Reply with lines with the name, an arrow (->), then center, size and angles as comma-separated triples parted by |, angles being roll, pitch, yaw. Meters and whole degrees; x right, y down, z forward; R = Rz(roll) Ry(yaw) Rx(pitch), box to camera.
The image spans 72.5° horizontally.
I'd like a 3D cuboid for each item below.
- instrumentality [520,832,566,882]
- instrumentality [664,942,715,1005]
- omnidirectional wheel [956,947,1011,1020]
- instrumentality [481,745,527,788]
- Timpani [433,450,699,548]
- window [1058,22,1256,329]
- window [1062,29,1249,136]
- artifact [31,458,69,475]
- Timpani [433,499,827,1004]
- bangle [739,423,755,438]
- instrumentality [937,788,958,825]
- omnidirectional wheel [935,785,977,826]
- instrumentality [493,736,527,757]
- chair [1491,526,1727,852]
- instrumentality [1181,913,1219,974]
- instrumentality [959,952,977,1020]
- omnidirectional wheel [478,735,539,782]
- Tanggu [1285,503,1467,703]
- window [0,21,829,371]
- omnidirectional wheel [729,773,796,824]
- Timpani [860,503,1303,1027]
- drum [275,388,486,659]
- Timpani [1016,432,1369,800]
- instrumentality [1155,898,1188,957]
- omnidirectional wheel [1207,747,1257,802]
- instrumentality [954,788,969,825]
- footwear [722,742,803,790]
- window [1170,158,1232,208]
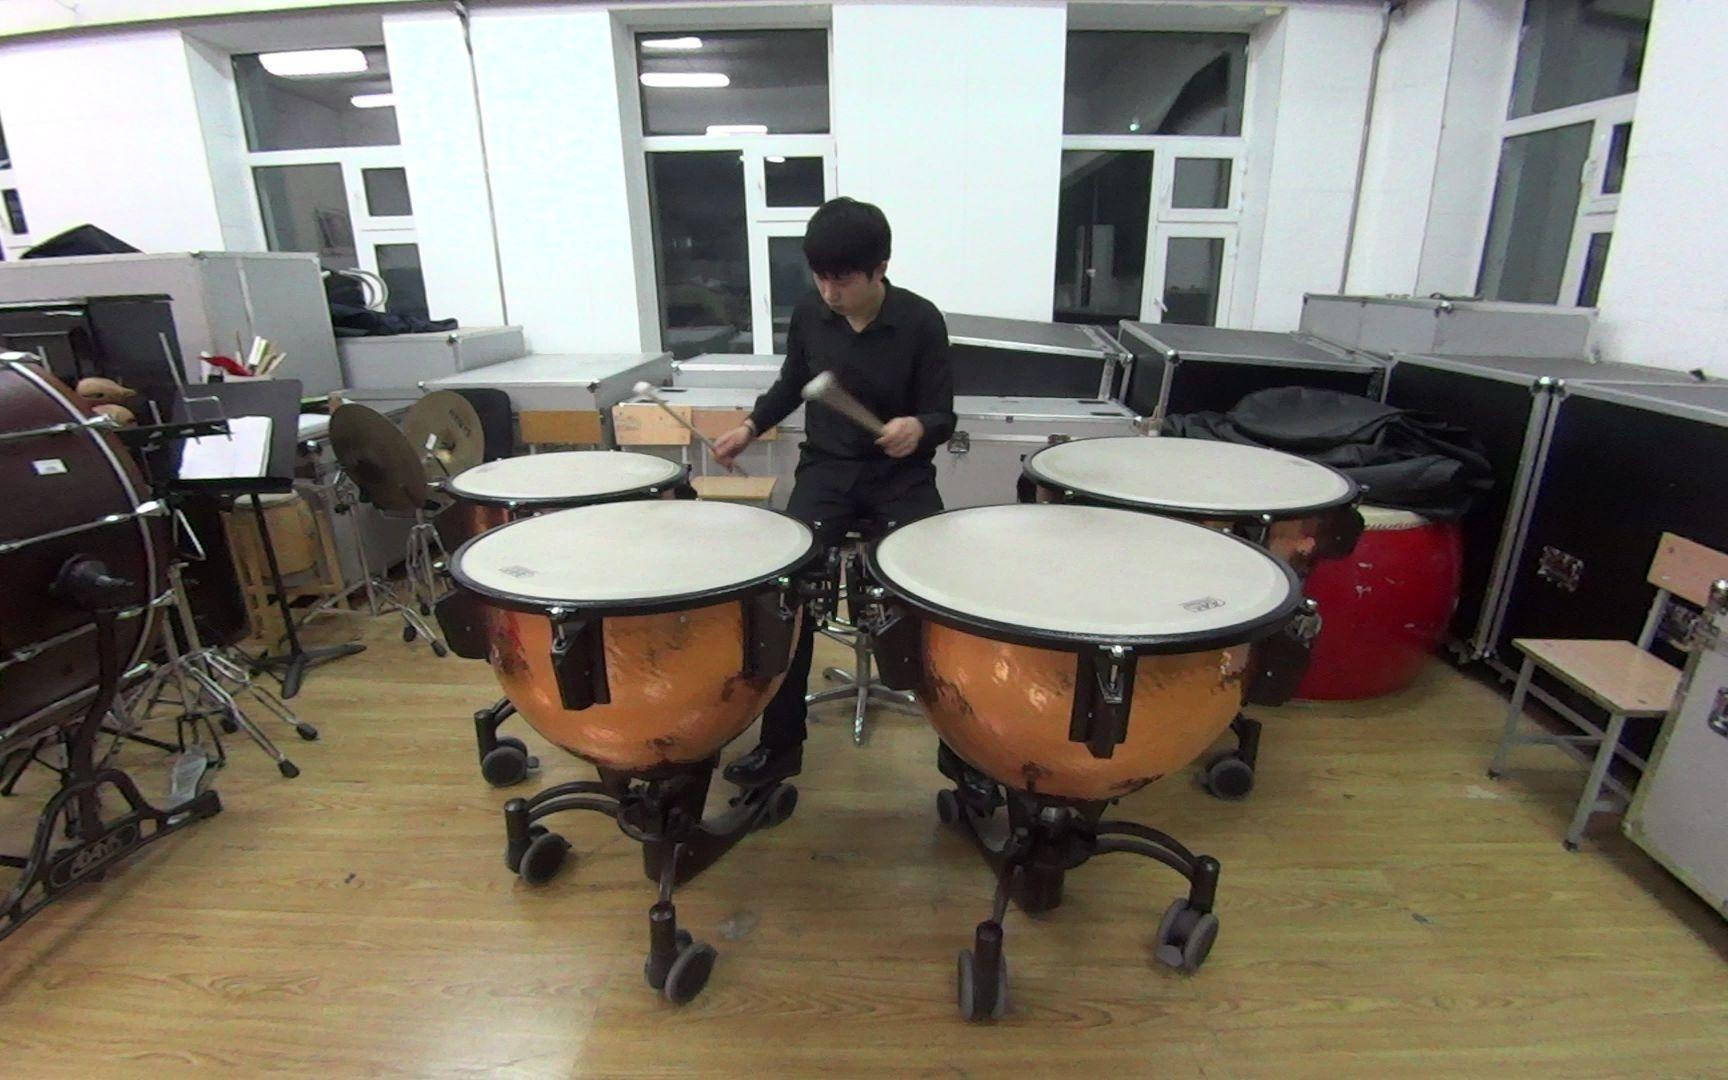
instrumentality -> -1.159, 1.121, 4.194 | 0.190, 0.169, 0.044 | 18, 17, -36
instrumentality -> -0.607, 1.426, 3.929 | 0.208, 0.178, 0.051 | 12, 9, -37
omnidirectional wheel -> 0.375, 1.483, 3.953 | 0.196, 0.177, 0.226 | 0, -2, 1
instrumentality -> -1.369, 0.855, 4.543 | 0.191, 0.135, 0.175 | -4, 9, -6
Timpani -> -1.135, -0.204, 4.406 | 0.593, 0.176, 0.531 | -3, 16, -15
window -> 1.683, -1.976, 7.035 | 1.123, 1.736, 0.165 | 8, 44, 17
window -> 1.646, -2.641, 6.907 | 1.206, 0.576, 0.016 | -6, 18, -18
artifact -> -2.707, -0.242, 3.909 | 0.072, 0.015, 0.063 | -6, 25, -20
Timpani -> -0.803, 0.597, 4.368 | 1.611, 1.418, 1.408 | 2, 23, 10
bangle -> -0.465, -0.440, 4.761 | 0.059, 0.051, 0.055 | 22, -31, -18
instrumentality -> 0.301, 0.982, 4.337 | 0.032, 0.106, 0.110 | -5, 12, -29
omnidirectional wheel -> 0.332, 0.980, 4.348 | 0.133, 0.142, 0.139 | 5, 14, -1
instrumentality -> -1.357, 0.787, 4.486 | 0.101, 0.027, 0.092 | 2, 3, -16
chair -> 2.734, 0.526, 4.377 | 0.566, 1.057, 0.795 | 14, 26, 34
instrumentality -> 1.119, 1.351, 3.957 | 0.050, 0.182, 0.190 | 28, -15, 41
instrumentality -> 0.330, 1.462, 3.883 | 0.062, 0.168, 0.137 | 5, 2, -3
omnidirectional wheel -> -1.366, 0.846, 4.545 | 0.199, 0.127, 0.177 | -8, 6, -5
Tanggu -> 2.044, 0.211, 5.074 | 0.870, 0.663, 0.799 | -6, 11, -21
window -> -2.828, -2.049, 6.945 | 3.832, 1.909, 0.528 | 0, 23, 6
omnidirectional wheel -> -0.377, 0.959, 4.342 | 0.179, 0.080, 0.230 | 10, 18, 30
Timpani -> 0.633, 0.575, 4.524 | 1.815, 1.464, 1.660 | 7, 21, 20
drum -> -2.089, -0.088, 5.101 | 0.926, 0.971, 0.927 | -3, -28, -21
Timpani -> 1.194, 0.338, 4.487 | 1.495, 1.140, 1.380 | 9, 29, 26
instrumentality -> 1.034, 1.305, 3.987 | 0.138, 0.163, 0.061 | 12, -1, 23
omnidirectional wheel -> 1.387, 0.885, 4.449 | 0.203, 0.144, 0.089 | -27, 31, 33
instrumentality -> 0.348, 0.966, 4.309 | 0.035, 0.085, 0.069 | -8, 7, -13
footwear -> -0.372, 0.828, 4.340 | 0.298, 0.105, 0.139 | -2, 12, -13
window -> 1.986, -2.115, 7.011 | 0.360, 0.272, 0.074 | 4, 15, 0
